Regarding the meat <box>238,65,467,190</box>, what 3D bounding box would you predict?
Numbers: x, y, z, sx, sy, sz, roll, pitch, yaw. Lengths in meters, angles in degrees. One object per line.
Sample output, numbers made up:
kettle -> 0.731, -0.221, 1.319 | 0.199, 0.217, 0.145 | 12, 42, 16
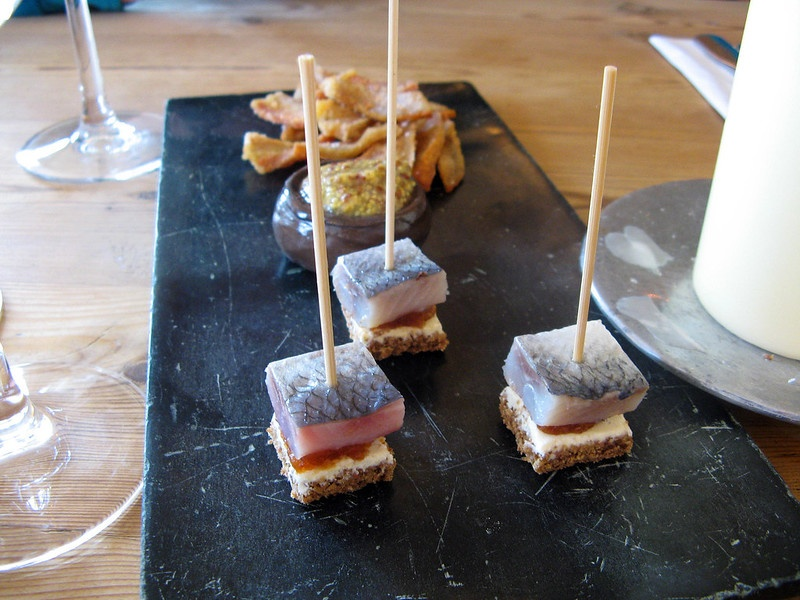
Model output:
meat -> -0.132, -0.511, 2.265 | 0.493, 0.240, 0.497 | -8, 23, -23

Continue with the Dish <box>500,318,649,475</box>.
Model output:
Dish -> 0.339, 0.193, 1.561 | 0.249, 0.218, 0.246 | -15, 35, -25

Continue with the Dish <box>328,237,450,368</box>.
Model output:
Dish -> -0.030, -0.025, 1.737 | 0.249, 0.189, 0.247 | -12, 46, -17

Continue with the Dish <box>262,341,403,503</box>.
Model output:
Dish -> -0.126, 0.230, 1.471 | 0.246, 0.205, 0.193 | -13, 39, -14
